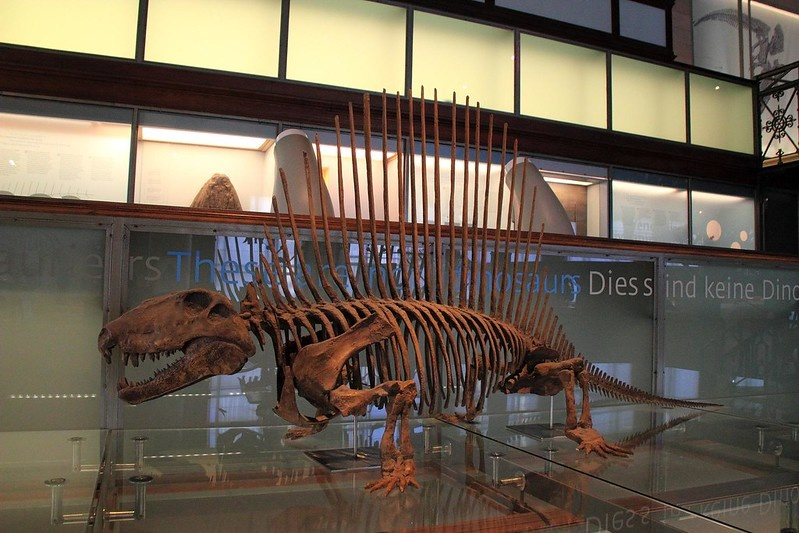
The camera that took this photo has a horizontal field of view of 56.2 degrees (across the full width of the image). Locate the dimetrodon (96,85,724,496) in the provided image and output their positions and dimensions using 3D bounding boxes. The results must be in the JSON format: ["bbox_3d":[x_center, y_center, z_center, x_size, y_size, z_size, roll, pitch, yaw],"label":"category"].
[{"bbox_3d":[0.272,0.292,5.464,4.440,2.349,2.114,2,4,-12],"label":"dimetrodon"}]
